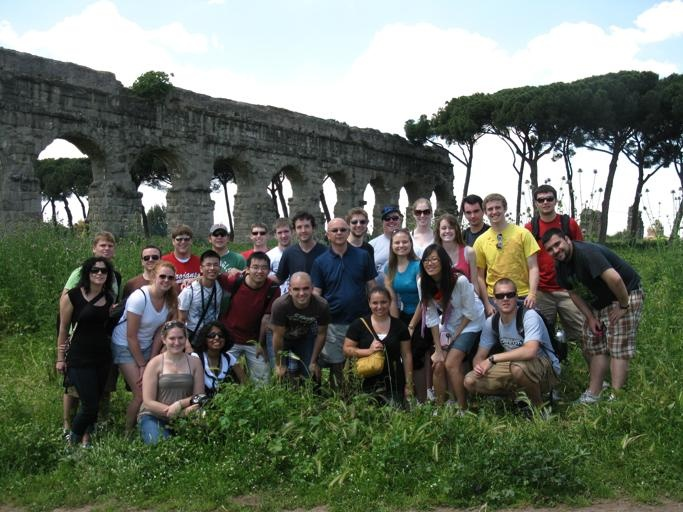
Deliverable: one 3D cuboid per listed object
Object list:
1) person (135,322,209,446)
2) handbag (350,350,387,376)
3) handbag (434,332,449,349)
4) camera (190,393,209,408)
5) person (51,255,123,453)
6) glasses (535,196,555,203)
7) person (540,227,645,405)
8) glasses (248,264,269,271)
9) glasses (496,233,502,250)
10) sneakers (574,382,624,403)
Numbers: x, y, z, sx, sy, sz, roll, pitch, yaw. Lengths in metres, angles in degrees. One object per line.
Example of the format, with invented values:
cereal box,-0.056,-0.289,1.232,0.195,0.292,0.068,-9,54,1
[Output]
person,-1.775,1.303,6.293,0.673,1.203,0.480,-1,1,-21
handbag,0.289,1.166,6.437,0.302,0.211,0.313,25,38,36
handbag,1.115,0.936,6.695,0.149,0.212,0.075,2,-2,-26
camera,-1.495,1.517,6.313,0.179,0.099,0.129,-1,1,-11
person,-2.771,1.003,6.514,0.586,1.456,0.474,-1,1,-22
glasses,2.383,-0.658,7.005,0.203,0.074,0.101,-1,1,17
person,2.786,0.669,6.632,0.987,1.937,0.630,-1,1,11
glasses,-0.931,0.140,6.803,0.211,0.083,0.103,-1,1,2
glasses,1.850,-0.168,7.017,0.069,0.172,0.042,-1,1,13
sneakers,2.905,1.553,6.750,0.528,0.230,0.184,-8,-11,-23
